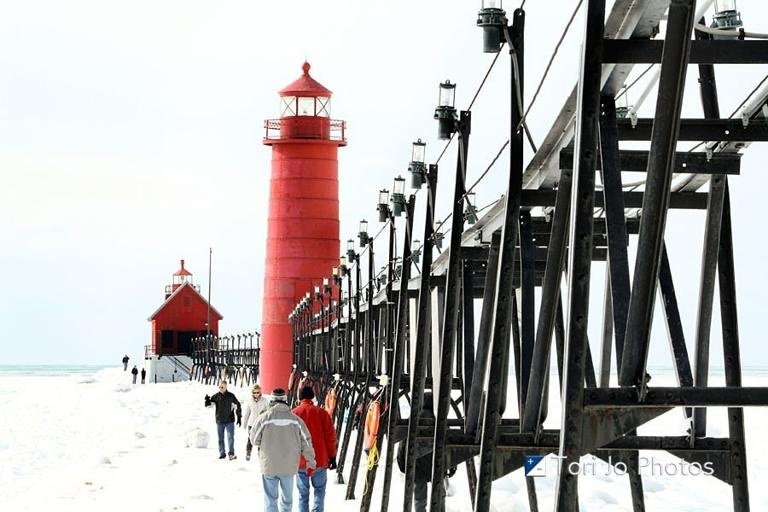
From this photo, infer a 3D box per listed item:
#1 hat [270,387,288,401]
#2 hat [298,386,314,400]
[{"bbox_3d":[-1.577,2.076,15.632,0.181,0.213,0.227,2,10,-5],"label":"hat"},{"bbox_3d":[-1.223,2.144,16.363,0.199,0.197,0.203,-1,-2,0],"label":"hat"}]
